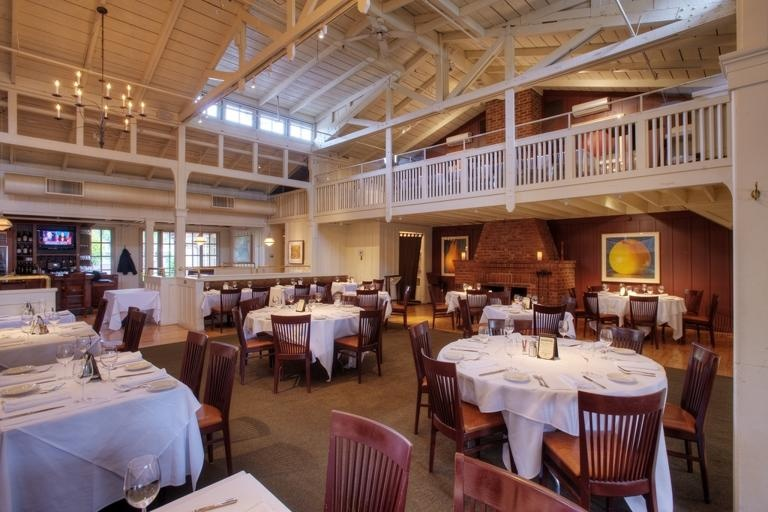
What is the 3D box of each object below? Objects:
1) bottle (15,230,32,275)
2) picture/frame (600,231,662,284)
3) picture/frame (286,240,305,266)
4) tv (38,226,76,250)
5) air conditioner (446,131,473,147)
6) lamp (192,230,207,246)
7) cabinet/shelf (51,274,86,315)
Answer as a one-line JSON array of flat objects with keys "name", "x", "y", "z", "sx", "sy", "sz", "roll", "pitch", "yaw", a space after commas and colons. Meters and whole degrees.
[{"name": "bottle", "x": -8.872, "y": -0.109, "z": 13.342, "sx": 0.385, "sy": 1.075, "sz": 0.323, "roll": -2, "pitch": -1, "yaw": -35}, {"name": "picture/frame", "x": 5.860, "y": 0.047, "z": 12.673, "sx": 1.347, "sy": 1.260, "sz": 0.048, "roll": -1, "pitch": -1, "yaw": 45}, {"name": "picture/frame", "x": -2.633, "y": -0.095, "z": 16.306, "sx": 0.743, "sy": 0.741, "sz": 0.088, "roll": -9, "pitch": -4, "yaw": 34}, {"name": "tv", "x": -8.446, "y": -0.464, "z": 13.916, "sx": 0.091, "sy": 0.447, "sz": 0.688, "roll": -3, "pitch": -3, "yaw": 43}, {"name": "air conditioner", "x": 1.646, "y": -2.572, "z": 11.855, "sx": 0.542, "sy": 0.283, "sz": 0.956, "roll": -2, "pitch": -2, "yaw": 7}, {"name": "lamp", "x": -5.913, "y": -0.581, "z": 17.317, "sx": 0.575, "sy": 0.422, "sz": 0.559, "roll": -2, "pitch": 4, "yaw": -37}, {"name": "cabinet/shelf", "x": -7.911, "y": 0.921, "z": 13.846, "sx": 0.733, "sy": 1.014, "sz": 0.696, "roll": 7, "pitch": 7, "yaw": 38}]
